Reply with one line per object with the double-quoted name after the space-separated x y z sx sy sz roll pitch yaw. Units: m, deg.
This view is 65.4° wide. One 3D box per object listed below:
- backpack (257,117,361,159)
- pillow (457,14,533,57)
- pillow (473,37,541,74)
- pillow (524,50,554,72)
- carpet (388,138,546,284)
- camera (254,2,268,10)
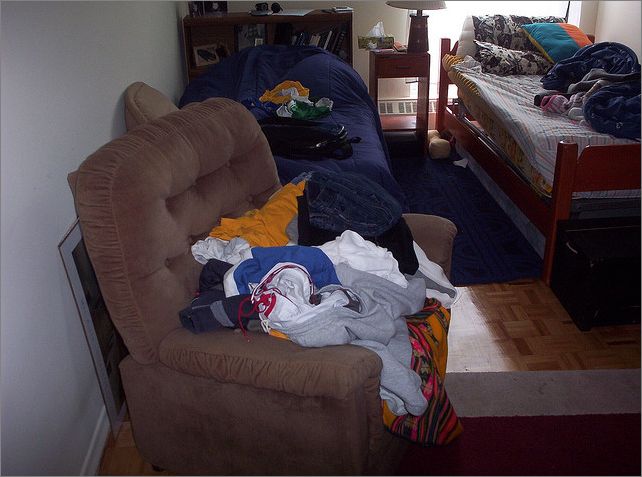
-0.069 -0.550 2.793 0.417 0.142 0.311 6 30 6 "backpack"
1.522 -1.776 4.270 0.518 0.146 0.551 10 9 8 "pillow"
1.432 -1.460 3.995 0.530 0.273 0.136 -13 11 -10 "pillow"
1.702 -1.377 3.896 0.165 0.176 0.079 4 -10 10 "pillow"
0.941 -0.081 3.164 0.599 0.025 1.454 -4 37 -8 "carpet"
-0.504 -1.959 4.225 0.105 0.061 0.291 -3 25 -6 "camera"
